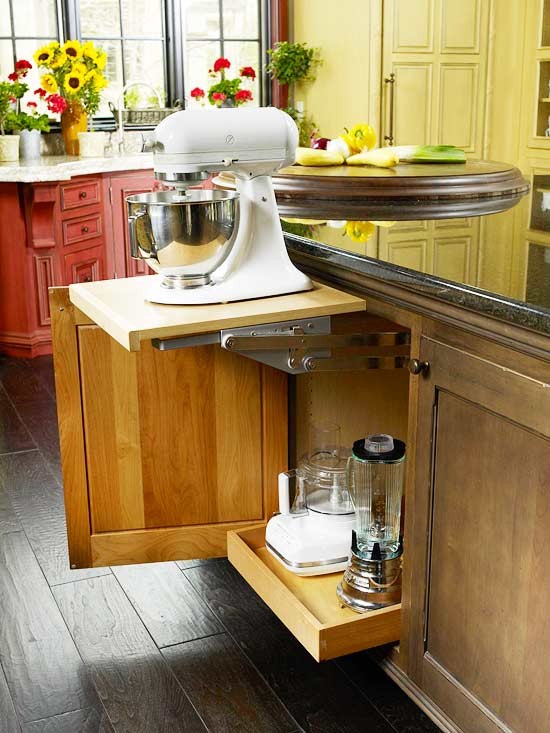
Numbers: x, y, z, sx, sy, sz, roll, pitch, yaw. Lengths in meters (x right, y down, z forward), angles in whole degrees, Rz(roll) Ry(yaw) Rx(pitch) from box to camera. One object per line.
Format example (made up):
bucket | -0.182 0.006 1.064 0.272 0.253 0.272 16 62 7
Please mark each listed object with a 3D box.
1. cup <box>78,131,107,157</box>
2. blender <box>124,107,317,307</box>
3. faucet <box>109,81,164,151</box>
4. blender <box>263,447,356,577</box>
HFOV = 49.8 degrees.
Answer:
cup | -1.125 -1.370 3.679 0.159 0.117 0.159 2 14 -1
blender | -0.088 -0.243 0.885 0.281 0.268 0.161 -11 25 -25
faucet | -0.940 -1.730 4.163 0.368 0.539 0.276 -4 16 -16
blender | 0.102 0.299 1.231 0.236 0.200 0.235 -4 5 -28
